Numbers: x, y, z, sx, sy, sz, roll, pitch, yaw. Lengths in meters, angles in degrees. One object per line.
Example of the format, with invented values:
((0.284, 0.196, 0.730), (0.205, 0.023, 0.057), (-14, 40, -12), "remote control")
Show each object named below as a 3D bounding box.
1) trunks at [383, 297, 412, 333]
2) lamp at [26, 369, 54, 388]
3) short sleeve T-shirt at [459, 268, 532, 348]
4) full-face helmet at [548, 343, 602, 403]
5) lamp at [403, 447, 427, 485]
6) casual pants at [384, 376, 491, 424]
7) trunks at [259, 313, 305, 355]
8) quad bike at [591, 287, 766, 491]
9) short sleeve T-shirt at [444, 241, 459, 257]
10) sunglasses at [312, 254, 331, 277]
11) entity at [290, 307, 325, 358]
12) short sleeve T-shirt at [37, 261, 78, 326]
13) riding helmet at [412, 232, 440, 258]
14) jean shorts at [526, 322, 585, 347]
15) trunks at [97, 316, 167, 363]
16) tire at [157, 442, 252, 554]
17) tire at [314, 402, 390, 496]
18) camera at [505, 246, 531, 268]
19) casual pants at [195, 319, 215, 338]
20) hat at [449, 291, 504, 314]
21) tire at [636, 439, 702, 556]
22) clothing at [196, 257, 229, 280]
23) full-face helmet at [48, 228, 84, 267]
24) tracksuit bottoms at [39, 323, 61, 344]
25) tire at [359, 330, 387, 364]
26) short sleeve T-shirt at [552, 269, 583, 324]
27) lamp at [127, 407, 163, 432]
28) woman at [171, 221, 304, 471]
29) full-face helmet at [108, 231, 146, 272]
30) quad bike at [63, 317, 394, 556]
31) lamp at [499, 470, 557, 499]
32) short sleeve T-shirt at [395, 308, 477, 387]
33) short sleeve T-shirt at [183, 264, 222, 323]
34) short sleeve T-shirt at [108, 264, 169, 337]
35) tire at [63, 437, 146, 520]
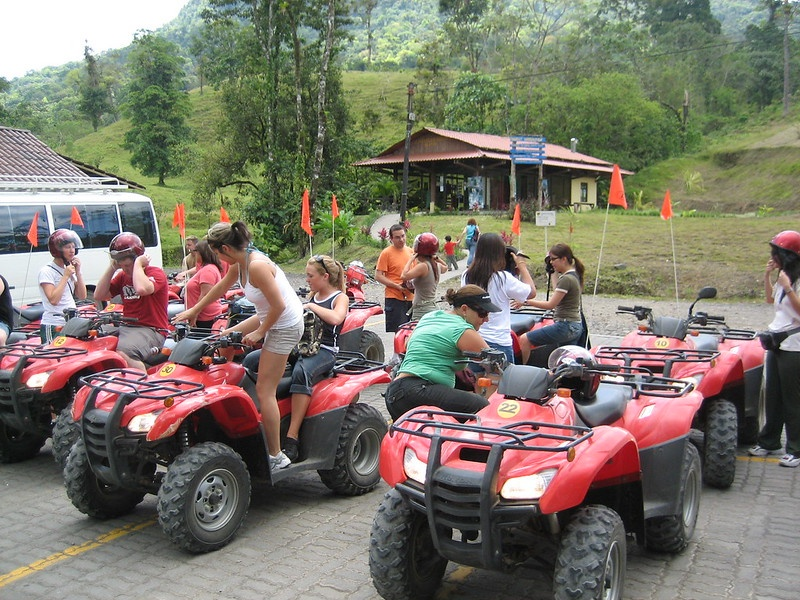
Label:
((-0.030, 0.208, 10.477), (0.442, 0.570, 0.306), (-1, 11, -32), "trunks")
((-3.781, 0.840, 7.397), (0.325, 0.157, 0.151), (6, 13, 35), "lamp")
((0.979, 0.075, 7.330), (0.445, 0.793, 0.757), (-7, 15, -37), "short sleeve T-shirt")
((1.395, 0.586, 5.624), (0.451, 0.479, 0.351), (5, 1, -23), "full-face helmet")
((0.097, 1.219, 5.165), (0.109, 0.169, 0.295), (-7, 12, -28), "lamp")
((0.263, 0.836, 6.143), (0.646, 0.272, 0.394), (1, 4, -12), "casual pants")
((-1.107, 0.334, 6.587), (0.272, 0.303, 0.405), (1, 2, -2), "trunks")
((3.267, 0.820, 8.080), (1.290, 1.671, 2.436), (5, 15, 32), "quad bike")
((1.794, -1.836, 25.394), (0.653, 0.717, 0.388), (-3, 33, 3), "short sleeve T-shirt")
((-0.832, -0.371, 7.353), (0.054, 0.189, 0.146), (-27, 1, 11), "sunglasses")
((-0.916, 0.329, 7.189), (0.372, 0.498, 0.487), (-4, -8, 44), "entity")
((-4.397, -0.082, 9.084), (0.474, 0.941, 0.780), (-2, 9, -15), "short sleeve T-shirt")
((0.358, -0.743, 9.384), (0.237, 0.297, 0.337), (-16, 31, -32), "riding helmet")
((1.874, 0.395, 8.555), (0.503, 0.222, 0.320), (-4, 7, 8), "jean shorts")
((-2.939, 0.469, 7.740), (0.562, 0.384, 0.349), (9, -6, -37), "trunks")
((-1.712, 1.723, 6.097), (0.277, 0.953, 0.891), (-1, 4, 36), "tire")
((-0.452, 1.544, 7.305), (0.266, 0.875, 0.831), (4, -1, 29), "tire")
((1.356, -0.563, 8.701), (0.370, 0.217, 0.282), (17, 3, -15), "camera")
((-2.179, 0.312, 7.833), (0.152, 0.231, 0.128), (0, 5, 3), "casual pants")
((0.663, 0.017, 6.304), (0.338, 0.113, 0.203), (8, 1, 12), "hat")
((2.164, 1.621, 5.768), (0.278, 0.923, 0.819), (3, 17, 33), "tire")
((-2.300, -0.389, 8.621), (0.241, 0.484, 0.357), (1, 3, 6), "clothing")
((-4.396, -0.689, 9.237), (0.461, 0.556, 0.411), (-1, 7, 9), "full-face helmet")
((-4.361, 0.416, 8.804), (0.228, 0.330, 0.170), (0, -2, -23), "tracksuit bottoms")
((-0.434, 0.725, 10.755), (0.168, 0.535, 0.510), (-1, 2, 27), "tire")
((1.997, -0.044, 8.465), (0.278, 0.563, 0.557), (3, 9, 24), "short sleeve T-shirt")
((-2.177, 1.037, 6.009), (0.312, 0.175, 0.126), (4, 11, 23), "lamp")
((-1.545, 0.414, 6.899), (1.283, 2.427, 0.842), (1, 7, 17), "woman")
((-2.969, -0.555, 7.793), (0.325, 0.404, 0.447), (6, 26, 13), "full-face helmet")
((-1.616, 1.227, 7.315), (1.862, 2.042, 3.152), (-3, -2, 33), "quad bike")
((0.848, 1.266, 4.783), (0.204, 0.103, 0.276), (-24, 0, -33), "lamp")
((0.313, 0.593, 6.405), (0.624, 0.766, 0.711), (-1, -36, 24), "short sleeve T-shirt")
((-2.345, -0.068, 8.435), (0.419, 0.774, 0.766), (0, 6, -2), "short sleeve T-shirt")
((-2.918, 0.001, 7.941), (0.679, 0.728, 0.445), (-3, 3, 28), "short sleeve T-shirt")
((-2.675, 1.609, 6.394), (0.283, 0.885, 0.839), (-5, 1, 32), "tire")
